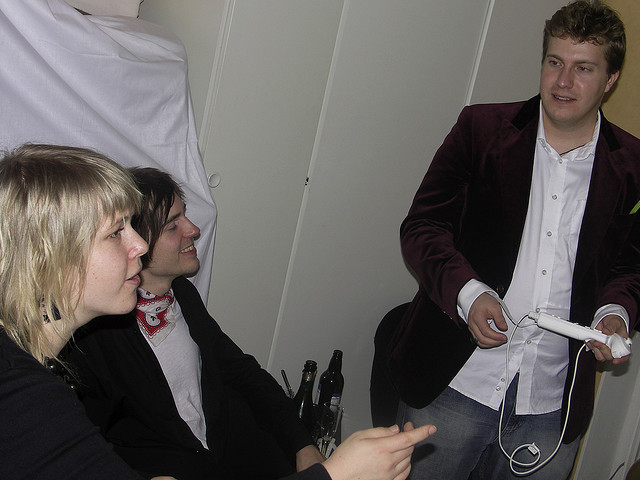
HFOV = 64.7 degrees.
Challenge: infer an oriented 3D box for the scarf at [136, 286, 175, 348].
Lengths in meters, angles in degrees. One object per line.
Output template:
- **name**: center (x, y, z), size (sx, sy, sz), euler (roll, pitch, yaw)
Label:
- **scarf**: center (-0.525, 0.240, 1.610), size (0.096, 0.192, 0.114), euler (4, 15, -11)

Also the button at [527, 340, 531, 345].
- **button**: center (0.643, 0.313, 1.559), size (0.010, 0.016, 0.003), euler (-4, 17, -3)

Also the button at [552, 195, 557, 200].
- **button**: center (0.716, -0.134, 1.547), size (0.012, 0.013, 0.003), euler (6, 6, 8)

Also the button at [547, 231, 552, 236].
- **button**: center (0.700, -0.022, 1.548), size (0.011, 0.014, 0.005), euler (-3, -8, 11)

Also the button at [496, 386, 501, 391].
- **button**: center (0.556, 0.461, 1.580), size (0.012, 0.013, 0.004), euler (-3, 4, 9)

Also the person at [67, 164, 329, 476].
- **person**: center (-0.262, 0.248, 2.078), size (0.911, 1.325, 0.862), euler (-2, 6, 6)

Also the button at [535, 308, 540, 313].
- **button**: center (0.649, 0.209, 1.513), size (0.012, 0.004, 0.013), euler (4, 29, 12)

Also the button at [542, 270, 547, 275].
- **button**: center (0.682, 0.096, 1.540), size (0.013, 0.013, 0.004), euler (-3, 17, -1)

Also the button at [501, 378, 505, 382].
- **button**: center (0.568, 0.435, 1.577), size (0.009, 0.013, 0.004), euler (1, 17, 13)

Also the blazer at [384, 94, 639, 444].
- **blazer**: center (0.614, 0.088, 1.628), size (0.800, 1.047, 0.395), euler (-1, 17, 8)

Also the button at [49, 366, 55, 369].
- **button**: center (-0.622, 0.293, 1.170), size (0.014, 0.008, 0.008), euler (-1, 3, -29)

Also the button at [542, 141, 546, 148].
- **button**: center (0.693, -0.298, 1.570), size (0.004, 0.014, 0.015), euler (-1, 7, -22)
